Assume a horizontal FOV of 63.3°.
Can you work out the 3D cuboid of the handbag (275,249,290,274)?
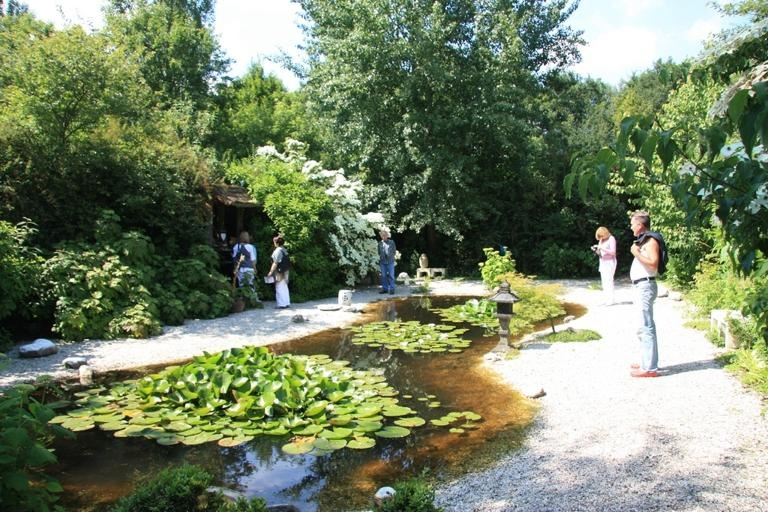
[{"bbox_3d":[-2.578,0.103,15.898,0.181,0.621,0.442,-7,0,31],"label":"handbag"}]

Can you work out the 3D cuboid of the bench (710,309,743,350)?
[{"bbox_3d":[6.076,1.314,10.994,0.469,0.535,0.861,-1,10,7],"label":"bench"}]

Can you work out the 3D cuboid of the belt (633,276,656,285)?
[{"bbox_3d":[4.244,0.384,10.141,0.335,0.114,0.243,-7,0,15],"label":"belt"}]

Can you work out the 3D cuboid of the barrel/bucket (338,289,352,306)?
[{"bbox_3d":[-0.998,1.081,16.333,0.370,0.361,0.376,1,6,0],"label":"barrel/bucket"}]

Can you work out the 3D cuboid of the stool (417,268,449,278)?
[{"bbox_3d":[1.856,0.625,23.904,1.186,0.422,0.903,-7,0,-29],"label":"stool"}]
